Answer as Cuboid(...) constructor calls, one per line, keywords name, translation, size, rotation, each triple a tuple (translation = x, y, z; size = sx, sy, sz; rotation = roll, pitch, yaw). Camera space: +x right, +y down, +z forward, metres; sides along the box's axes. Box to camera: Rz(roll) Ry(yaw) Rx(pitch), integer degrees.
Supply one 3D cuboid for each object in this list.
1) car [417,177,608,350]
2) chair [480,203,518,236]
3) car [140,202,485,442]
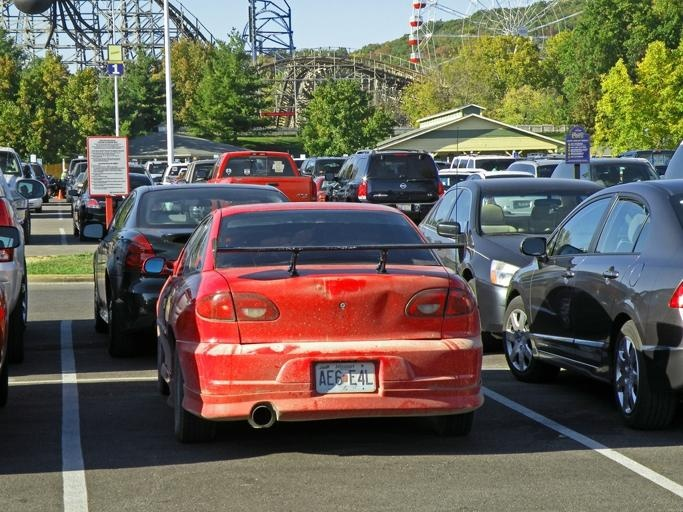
Cuboid(name="car", translation=(2.055, -0.079, 10.458), size=(1.529, 1.016, 2.804), rotation=(0, 8, -5))
Cuboid(name="chair", translation=(1.903, -0.448, 10.698), size=(0.320, 0.430, 0.461), rotation=(2, -36, 2))
Cuboid(name="car", translation=(-0.115, 0.443, 5.935), size=(1.418, 1.002, 2.376), rotation=(-1, 8, -9))
